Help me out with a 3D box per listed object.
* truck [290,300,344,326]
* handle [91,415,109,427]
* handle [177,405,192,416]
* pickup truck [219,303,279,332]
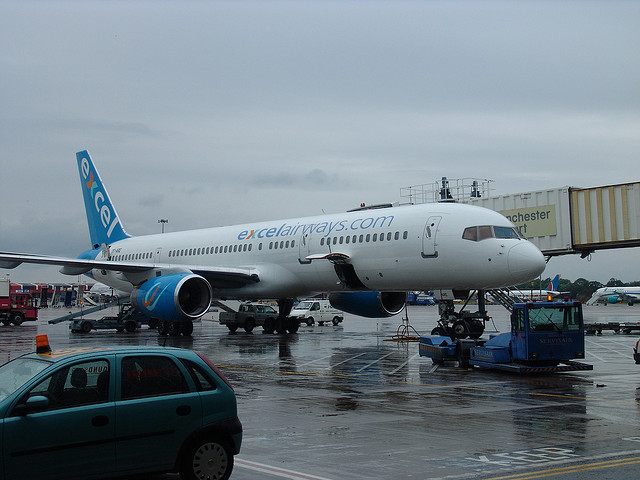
[{"bbox_3d":[-0.315,5.581,48.117,4.020,1.326,2.287,9,-14,-41],"label":"truck"},{"bbox_3d":[-2.835,2.302,7.930,0.186,0.146,0.060,7,-1,-37],"label":"handle"},{"bbox_3d":[-1.870,2.302,8.411,0.155,0.144,0.036,40,-9,-4],"label":"handle"},{"bbox_3d":[-4.593,4.666,37.544,3.598,1.379,4.792,-1,-2,-43],"label":"pickup truck"}]
